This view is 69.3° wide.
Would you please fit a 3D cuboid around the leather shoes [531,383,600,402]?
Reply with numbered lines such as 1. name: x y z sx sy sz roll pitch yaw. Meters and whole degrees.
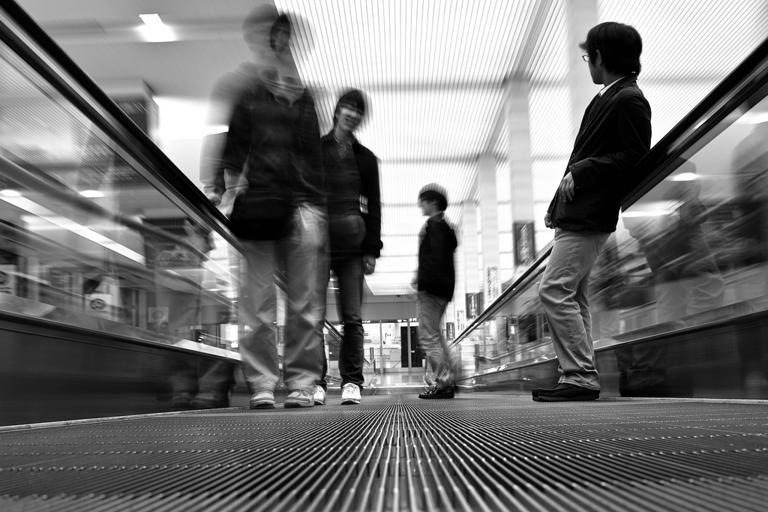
1. leather shoes: 1.118 0.743 3.420 0.292 0.089 0.164 1 -9 8

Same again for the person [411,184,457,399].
1. person: 0.506 0.128 5.252 0.393 2.077 0.637 -3 -18 6

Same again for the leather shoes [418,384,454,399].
1. leather shoes: 0.443 1.078 5.039 0.376 0.138 0.134 -1 -10 14

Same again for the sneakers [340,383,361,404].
1. sneakers: -0.222 0.830 3.825 0.121 0.135 0.161 1 -17 -4

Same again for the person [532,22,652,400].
1. person: 1.313 -0.314 3.481 0.463 2.148 0.859 8 -20 -25

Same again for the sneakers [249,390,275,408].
1. sneakers: -0.750 0.777 3.436 0.143 0.099 0.094 1 -18 -7
